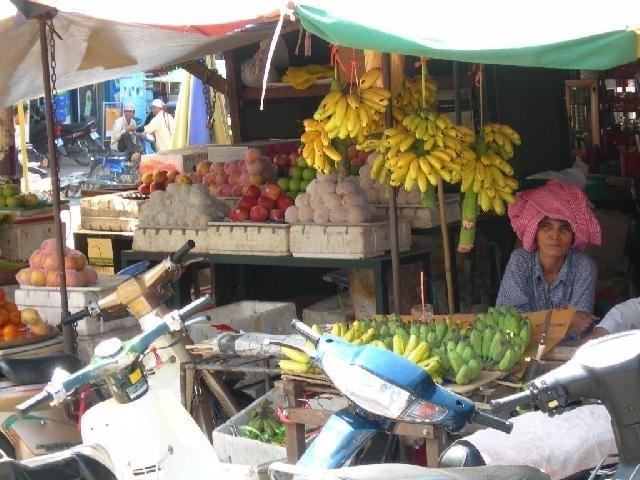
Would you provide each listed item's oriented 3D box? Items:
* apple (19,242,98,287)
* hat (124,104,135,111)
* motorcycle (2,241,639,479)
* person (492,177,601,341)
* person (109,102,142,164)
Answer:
[{"bbox_3d":[-1.878,0.204,4.824,0.363,0.240,0.414,-2,1,-12],"label":"apple"},{"bbox_3d":[-3.746,-2.603,13.265,0.183,0.148,0.216,-6,4,-17],"label":"hat"},{"bbox_3d":[0.031,0.475,2.355,1.679,1.099,1.012,3,-5,1],"label":"motorcycle"},{"bbox_3d":[1.402,0.116,4.088,0.516,0.942,0.597,5,5,2],"label":"person"},{"bbox_3d":[-3.869,-2.070,13.559,0.533,1.325,0.751,1,-3,-38],"label":"person"}]
